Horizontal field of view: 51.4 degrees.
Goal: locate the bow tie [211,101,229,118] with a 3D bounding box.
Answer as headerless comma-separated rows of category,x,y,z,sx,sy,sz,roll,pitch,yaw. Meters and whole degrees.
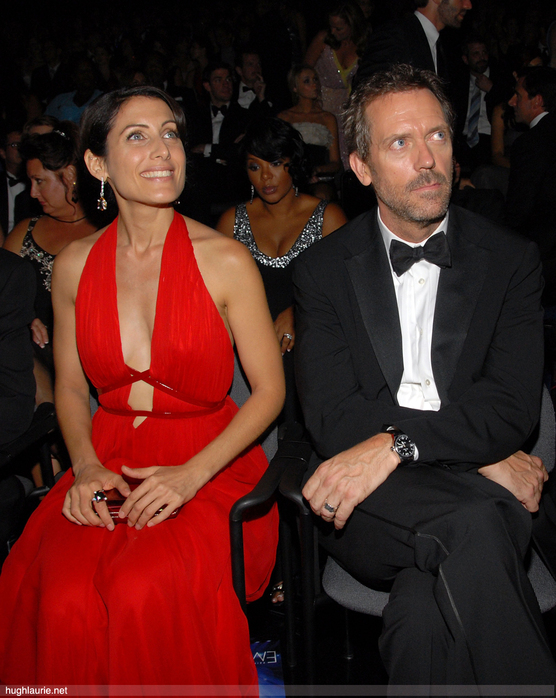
bow tie,-0.636,-2.562,6.186,0.222,0.148,0.118,3,21,29

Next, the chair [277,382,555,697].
chair,0.357,0.457,1.735,0.640,0.795,0.683,0,2,23

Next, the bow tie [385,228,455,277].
bow tie,0.381,-0.257,1.567,0.162,0.107,0.098,-4,18,10
